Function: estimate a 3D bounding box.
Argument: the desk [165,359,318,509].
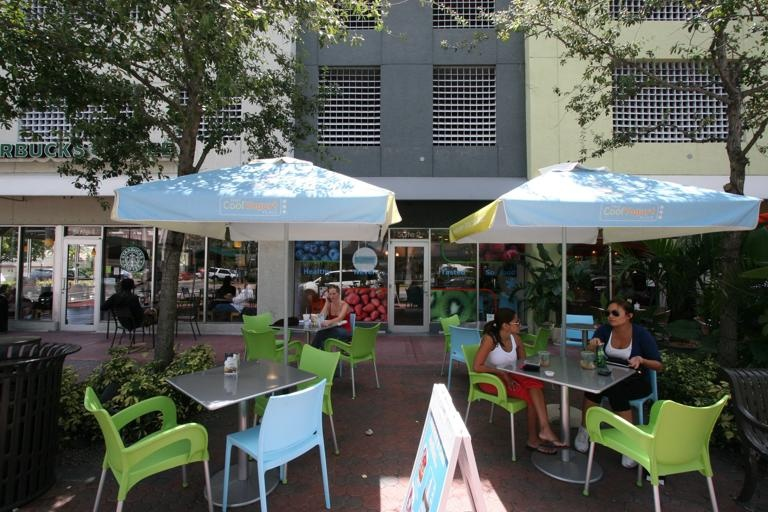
[{"bbox_3d":[-2.308,2.738,9.698,1.766,2.141,2.394,6,7,43],"label":"desk"}]

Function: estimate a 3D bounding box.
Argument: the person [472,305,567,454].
[{"bbox_3d":[2.193,1.865,10.004,0.930,2.298,1.273,0,0,-35],"label":"person"}]

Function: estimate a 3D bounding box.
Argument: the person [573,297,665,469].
[{"bbox_3d":[3.697,1.874,9.947,1.124,2.335,1.326,-3,-3,42],"label":"person"}]

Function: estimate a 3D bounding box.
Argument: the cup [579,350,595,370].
[{"bbox_3d":[3.174,1.614,9.742,0.238,0.268,0.245,1,-6,0],"label":"cup"}]

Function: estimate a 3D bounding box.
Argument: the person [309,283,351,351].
[{"bbox_3d":[-1.068,1.338,12.520,0.581,1.481,0.881,-4,-11,45],"label":"person"}]

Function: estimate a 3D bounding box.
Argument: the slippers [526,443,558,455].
[{"bbox_3d":[2.472,2.979,9.815,0.172,0.109,0.436,-4,-1,-40],"label":"slippers"}]
